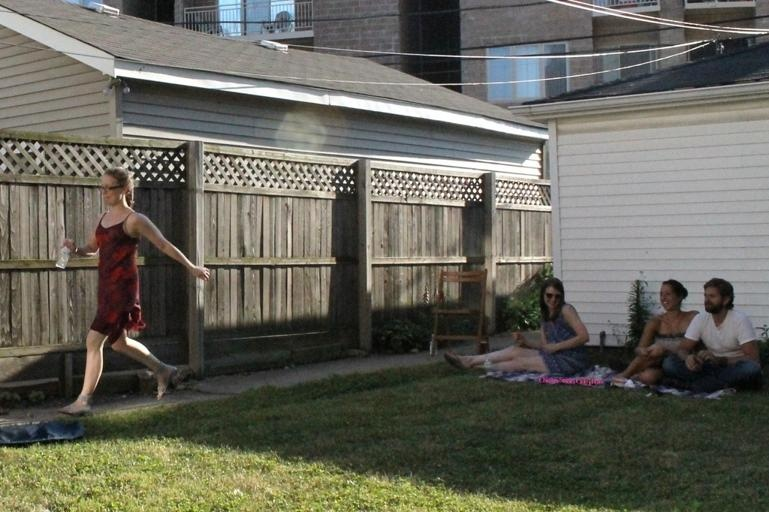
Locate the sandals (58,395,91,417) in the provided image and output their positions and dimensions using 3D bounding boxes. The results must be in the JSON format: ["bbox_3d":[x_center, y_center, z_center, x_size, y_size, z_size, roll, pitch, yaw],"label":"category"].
[{"bbox_3d":[-3.522,1.725,11.452,0.473,0.237,0.156,2,-3,10],"label":"sandals"}]

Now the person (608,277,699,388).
[{"bbox_3d":[3.367,0.984,12.513,1.096,1.302,0.713,-6,12,-26],"label":"person"}]

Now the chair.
[{"bbox_3d":[1.160,0.834,15.035,0.760,1.264,0.688,0,-4,18],"label":"chair"}]

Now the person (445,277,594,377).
[{"bbox_3d":[1.738,0.942,13.104,1.794,1.360,0.852,1,-8,-1],"label":"person"}]

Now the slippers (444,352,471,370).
[{"bbox_3d":[0.932,1.387,13.280,0.174,0.154,0.436,-14,-26,21],"label":"slippers"}]

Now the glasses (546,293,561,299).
[{"bbox_3d":[2.148,0.512,12.818,0.198,0.076,0.056,-1,12,2],"label":"glasses"}]

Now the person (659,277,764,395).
[{"bbox_3d":[4.134,0.965,12.438,1.170,1.664,1.333,8,-7,-44],"label":"person"}]
